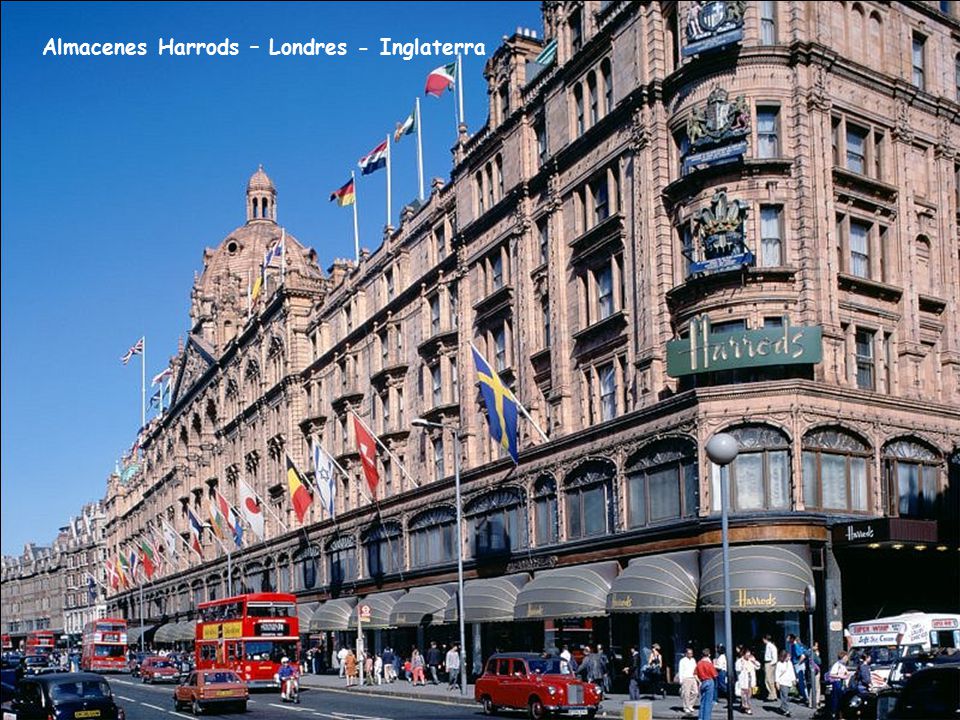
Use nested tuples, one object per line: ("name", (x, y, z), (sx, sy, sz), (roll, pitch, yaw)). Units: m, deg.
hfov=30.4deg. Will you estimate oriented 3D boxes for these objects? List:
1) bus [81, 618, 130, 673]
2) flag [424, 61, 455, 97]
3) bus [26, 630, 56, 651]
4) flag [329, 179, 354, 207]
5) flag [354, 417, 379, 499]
("bus", (-27.591, 21.357, 130.840), (2.015, 3.167, 6.329), (4, -15, -23))
("flag", (-2.349, -15.754, 101.261), (1.406, 1.558, 3.183), (-6, -3, 11))
("bus", (-38.553, 24.792, 155.269), (1.506, 2.260, 4.564), (6, -18, -31))
("flag", (-8.796, -10.595, 114.392), (1.165, 1.374, 3.029), (-5, -3, -6))
("flag", (-6.442, 5.633, 100.442), (1.090, 3.367, 2.175), (-4, -3, -6))
